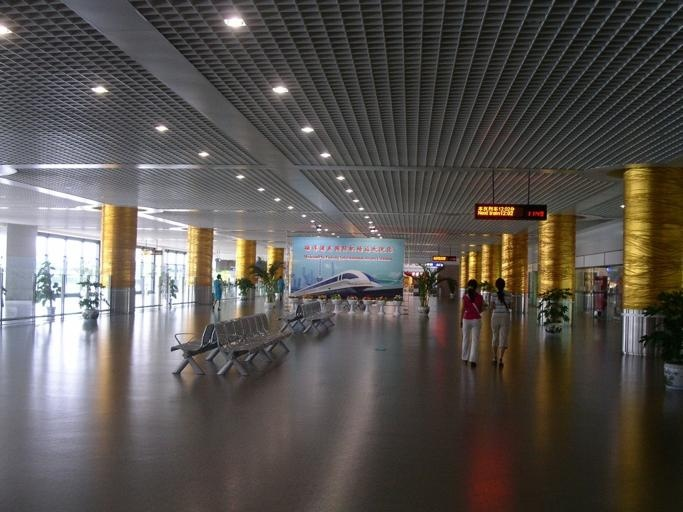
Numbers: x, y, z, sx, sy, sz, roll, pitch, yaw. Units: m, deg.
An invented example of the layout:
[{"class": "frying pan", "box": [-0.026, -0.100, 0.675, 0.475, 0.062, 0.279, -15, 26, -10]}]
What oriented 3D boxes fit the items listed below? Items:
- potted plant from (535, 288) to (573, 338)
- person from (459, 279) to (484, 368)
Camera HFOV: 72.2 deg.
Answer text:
[{"class": "potted plant", "box": [7.571, 1.938, 16.693, 1.034, 1.543, 1.606, 1, -2, 23]}, {"class": "person", "box": [2.790, 1.404, 10.069, 0.419, 1.807, 1.049, 1, -2, 15]}]
